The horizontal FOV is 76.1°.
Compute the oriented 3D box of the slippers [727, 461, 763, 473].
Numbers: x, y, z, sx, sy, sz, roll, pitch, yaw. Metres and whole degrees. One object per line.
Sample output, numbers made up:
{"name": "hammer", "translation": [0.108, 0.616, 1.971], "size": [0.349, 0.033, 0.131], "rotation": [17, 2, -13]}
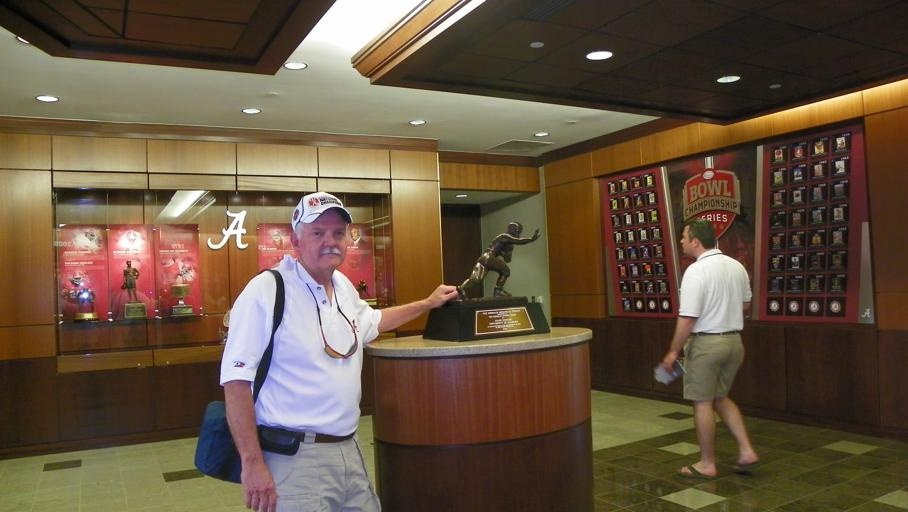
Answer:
{"name": "slippers", "translation": [3.221, 2.362, 6.453], "size": [0.355, 0.115, 0.126], "rotation": [-4, 6, 28]}

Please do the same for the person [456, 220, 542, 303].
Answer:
{"name": "person", "translation": [0.465, -0.001, 5.991], "size": [1.142, 0.877, 0.734], "rotation": [-1, 6, -20]}

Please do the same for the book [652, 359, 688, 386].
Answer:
{"name": "book", "translation": [2.316, 1.292, 6.235], "size": [0.215, 0.293, 0.369], "rotation": [2, 8, 33]}

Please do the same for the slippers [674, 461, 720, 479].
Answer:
{"name": "slippers", "translation": [2.684, 2.366, 6.406], "size": [0.323, 0.103, 0.170], "rotation": [1, -3, 20]}

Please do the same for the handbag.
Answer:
{"name": "handbag", "translation": [-1.693, 1.395, 4.187], "size": [0.358, 0.628, 0.298], "rotation": [-4, 7, -5]}
